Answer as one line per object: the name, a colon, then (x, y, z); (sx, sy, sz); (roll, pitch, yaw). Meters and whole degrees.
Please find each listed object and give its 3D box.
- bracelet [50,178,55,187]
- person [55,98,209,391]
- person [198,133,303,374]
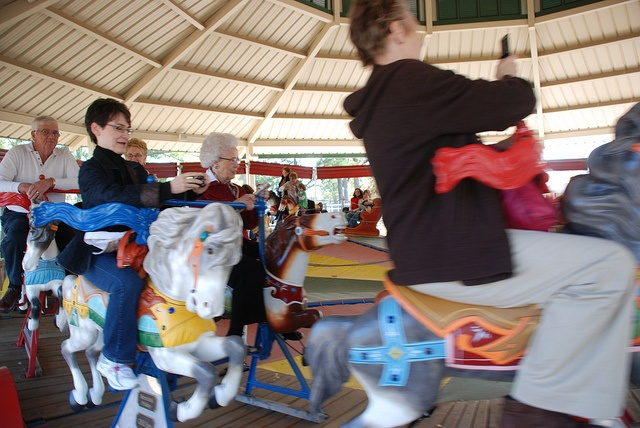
bracelet: (-1.773, -0.204, 2.939); (0.017, 0.044, 0.052); (2, -22, -12)
person: (-0.984, 0.107, 2.243); (0.570, 1.485, 0.717); (2, -4, -35)
person: (-0.525, 0.056, 2.586); (0.380, 1.211, 0.801); (0, -3, -14)
